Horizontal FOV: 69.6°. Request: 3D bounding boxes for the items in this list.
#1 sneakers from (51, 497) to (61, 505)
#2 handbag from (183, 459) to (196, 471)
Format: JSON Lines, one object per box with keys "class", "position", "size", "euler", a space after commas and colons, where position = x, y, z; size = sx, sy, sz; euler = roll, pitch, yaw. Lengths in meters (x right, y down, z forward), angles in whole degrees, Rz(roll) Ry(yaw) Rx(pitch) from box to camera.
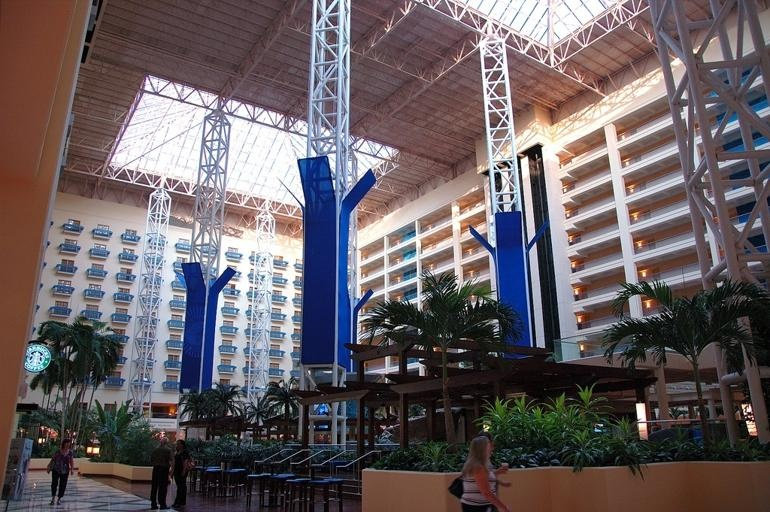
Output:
{"class": "sneakers", "position": [-8.543, 6.389, 14.436], "size": [0.217, 0.236, 0.622], "euler": [17, -30, -29]}
{"class": "handbag", "position": [-4.750, 5.082, 13.479], "size": [0.268, 0.254, 0.238], "euler": [-19, -25, 33]}
